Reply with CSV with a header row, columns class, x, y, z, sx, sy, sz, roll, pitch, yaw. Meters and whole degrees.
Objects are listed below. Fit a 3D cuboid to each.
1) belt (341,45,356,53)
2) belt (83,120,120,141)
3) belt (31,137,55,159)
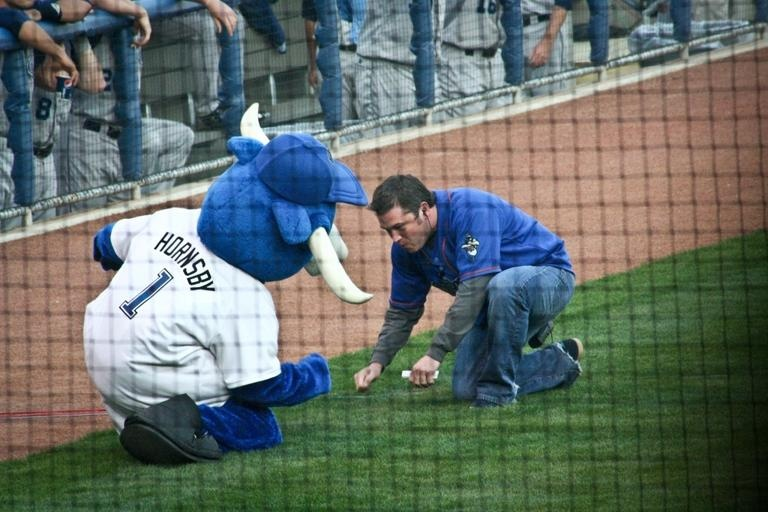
class,x,y,z,sx,sy,sz,roll,pitch,yaw
belt,-0.352,-2.072,15.998,0.161,0.102,0.030,-19,15,-31
belt,-2.598,-1.182,14.978,0.292,0.150,0.070,19,29,-20
belt,-3.089,-0.999,14.826,0.075,0.111,0.211,20,16,37
